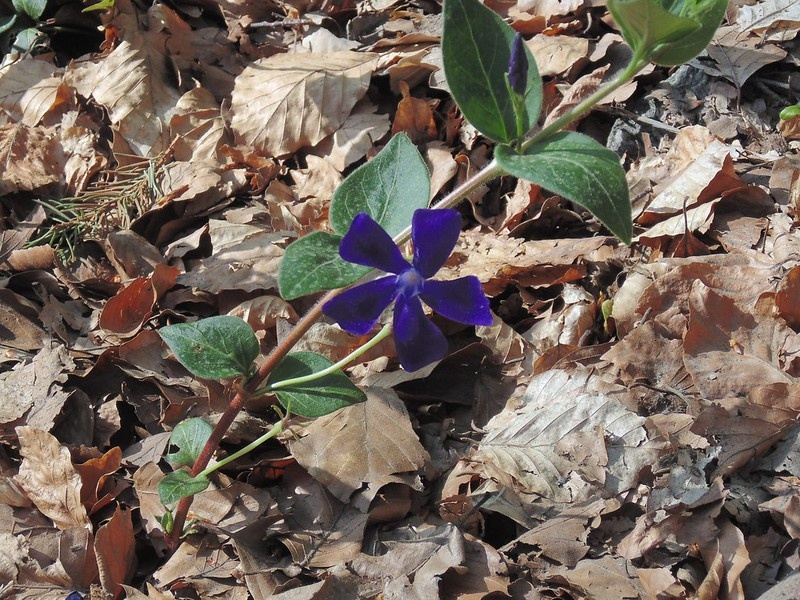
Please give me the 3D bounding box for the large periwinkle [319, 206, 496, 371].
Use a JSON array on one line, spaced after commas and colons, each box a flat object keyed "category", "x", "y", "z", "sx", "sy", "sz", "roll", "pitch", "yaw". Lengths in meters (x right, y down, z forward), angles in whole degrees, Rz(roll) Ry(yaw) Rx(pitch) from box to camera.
[{"category": "large periwinkle", "x": 0.046, "y": -0.064, "z": 3.810, "sx": 0.199, "sy": 0.702, "sz": 0.685, "roll": -16, "pitch": 52, "yaw": 17}]
